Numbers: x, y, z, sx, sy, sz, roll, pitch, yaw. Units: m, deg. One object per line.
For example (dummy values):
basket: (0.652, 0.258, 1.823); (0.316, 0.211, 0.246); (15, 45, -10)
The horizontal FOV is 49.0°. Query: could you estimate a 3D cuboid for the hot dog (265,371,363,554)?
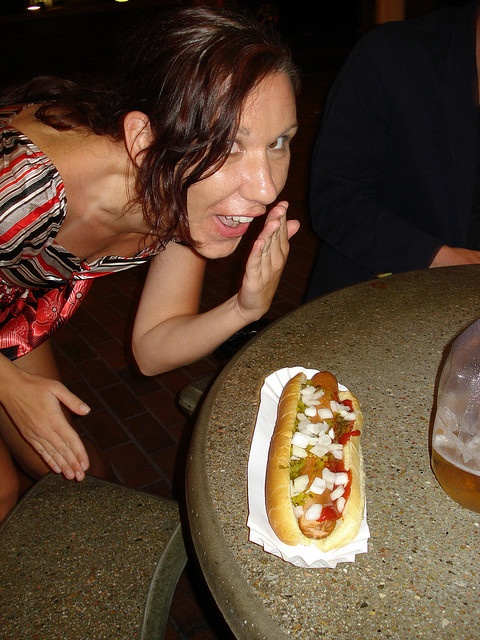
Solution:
hot dog: (0.171, 0.298, 1.182); (0.201, 0.109, 0.436); (9, 43, 0)
